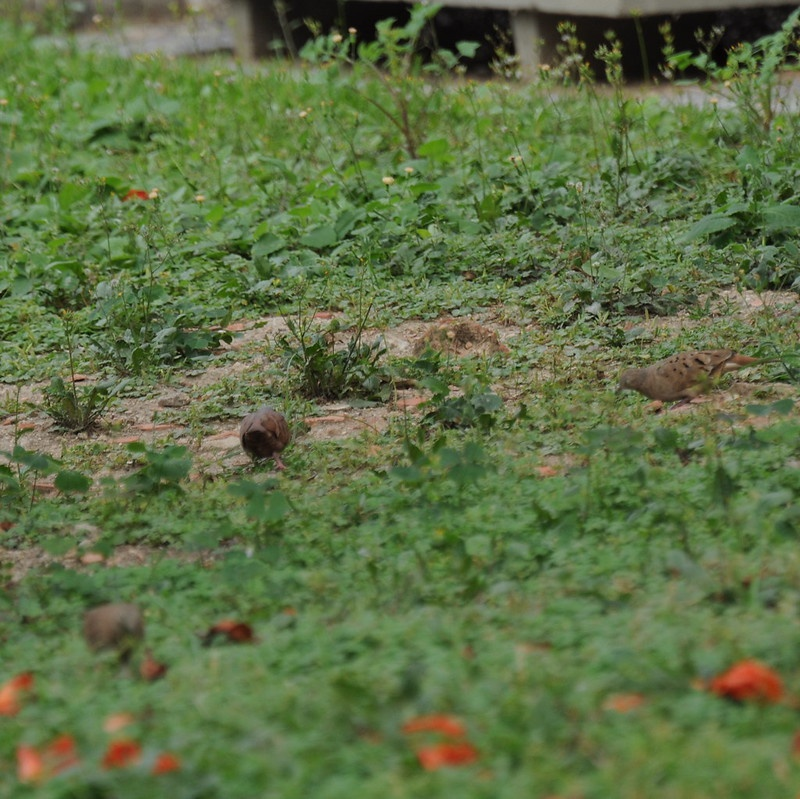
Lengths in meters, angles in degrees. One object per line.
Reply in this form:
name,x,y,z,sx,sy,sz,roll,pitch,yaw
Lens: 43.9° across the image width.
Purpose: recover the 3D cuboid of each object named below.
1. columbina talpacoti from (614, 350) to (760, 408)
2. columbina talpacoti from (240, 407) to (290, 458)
columbina talpacoti,1.056,-0.103,3.649,0.564,0.159,0.166,-20,17,-16
columbina talpacoti,-0.501,0.127,3.641,0.179,0.193,0.256,-10,15,-6
